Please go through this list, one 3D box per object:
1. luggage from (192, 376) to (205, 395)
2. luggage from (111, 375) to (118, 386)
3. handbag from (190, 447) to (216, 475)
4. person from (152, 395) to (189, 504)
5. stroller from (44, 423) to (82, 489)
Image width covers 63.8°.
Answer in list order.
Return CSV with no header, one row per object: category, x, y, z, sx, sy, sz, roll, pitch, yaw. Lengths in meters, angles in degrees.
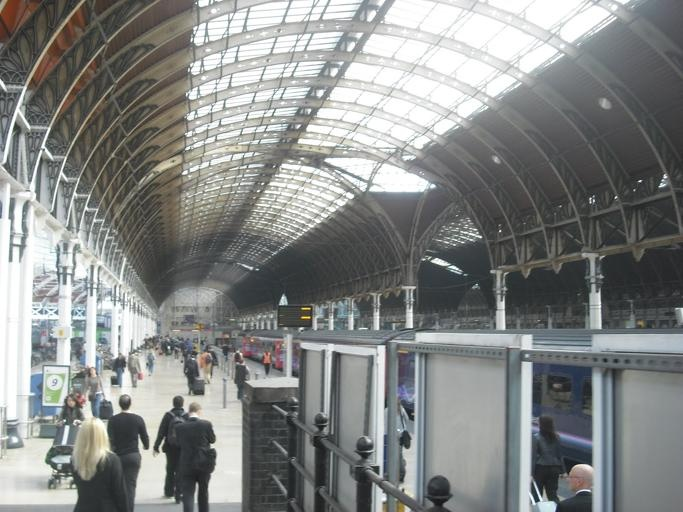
luggage,-7.271,6.687,27.938,0.544,0.866,0.812,2,-10,-18
luggage,-13.162,7.303,32.004,0.458,0.561,0.887,3,-10,-22
handbag,-2.305,3.385,9.082,0.474,0.567,0.313,4,-7,-28
person,-3.200,3.676,10.605,0.750,2.048,0.630,4,5,-12
stroller,-5.803,4.080,11.487,0.673,0.943,0.832,14,4,-31
